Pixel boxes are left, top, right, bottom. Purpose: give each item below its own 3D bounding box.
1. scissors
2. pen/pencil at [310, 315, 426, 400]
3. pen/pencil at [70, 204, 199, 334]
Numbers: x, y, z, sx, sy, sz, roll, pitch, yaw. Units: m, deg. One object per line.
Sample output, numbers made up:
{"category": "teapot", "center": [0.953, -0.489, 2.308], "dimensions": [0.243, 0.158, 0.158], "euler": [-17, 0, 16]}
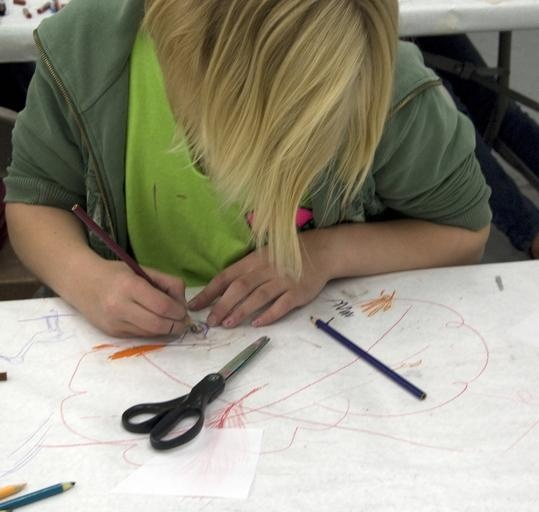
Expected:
{"category": "scissors", "center": [-0.076, 0.138, 0.635], "dimensions": [0.056, 0.011, 0.137], "euler": [16, 35, 39]}
{"category": "pen/pencil", "center": [0.114, 0.119, 0.695], "dimensions": [0.126, 0.009, 0.008], "euler": [34, 99, 19]}
{"category": "pen/pencil", "center": [-0.186, 0.011, 0.821], "dimensions": [0.023, 0.244, 0.024], "euler": [-42, 29, 9]}
